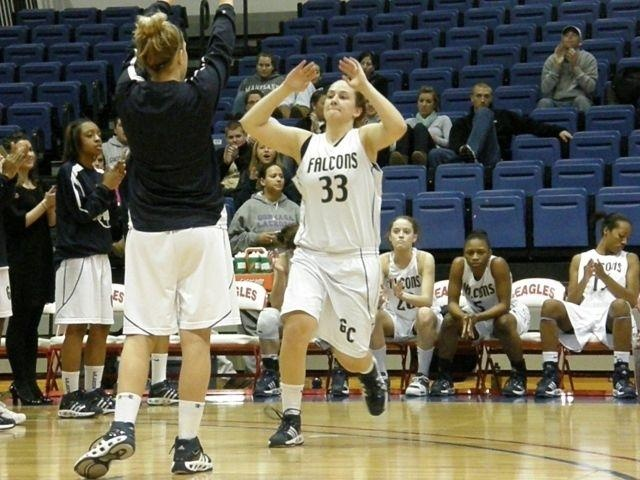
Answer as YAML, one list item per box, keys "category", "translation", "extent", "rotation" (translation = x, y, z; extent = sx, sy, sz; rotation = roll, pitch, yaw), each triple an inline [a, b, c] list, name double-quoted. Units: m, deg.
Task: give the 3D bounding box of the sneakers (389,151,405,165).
- category: "sneakers"
  translation: [0.892, -0.947, 9.770]
  extent: [0.173, 0.174, 0.138]
  rotation: [0, 1, -10]

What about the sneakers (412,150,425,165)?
- category: "sneakers"
  translation: [1.165, -0.948, 9.883]
  extent: [0.107, 0.194, 0.185]
  rotation: [-5, 4, 14]

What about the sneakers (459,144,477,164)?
- category: "sneakers"
  translation: [1.694, -0.975, 9.672]
  extent: [0.107, 0.320, 0.141]
  rotation: [-12, 19, 39]

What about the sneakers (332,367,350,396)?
- category: "sneakers"
  translation: [0.160, 1.229, 7.304]
  extent: [0.127, 0.262, 0.376]
  rotation: [-3, -8, 6]

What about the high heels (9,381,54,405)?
- category: "high heels"
  translation: [-2.517, 1.284, 7.042]
  extent: [0.504, 0.238, 0.176]
  rotation: [-6, -10, 26]

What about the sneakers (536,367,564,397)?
- category: "sneakers"
  translation: [1.908, 1.148, 6.996]
  extent: [0.135, 0.283, 0.393]
  rotation: [5, 6, 37]

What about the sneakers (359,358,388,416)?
- category: "sneakers"
  translation: [0.370, 0.988, 5.515]
  extent: [0.124, 0.396, 0.154]
  rotation: [-12, 16, 26]

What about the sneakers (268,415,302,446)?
- category: "sneakers"
  translation: [-0.204, 1.147, 5.138]
  extent: [0.142, 0.215, 0.333]
  rotation: [-2, -7, 23]

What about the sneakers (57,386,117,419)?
- category: "sneakers"
  translation: [-1.773, 1.211, 6.384]
  extent: [0.511, 0.239, 0.186]
  rotation: [1, -2, -35]

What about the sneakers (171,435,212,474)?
- category: "sneakers"
  translation: [-0.692, 1.160, 4.553]
  extent: [0.105, 0.153, 0.287]
  rotation: [-1, -6, 17]
